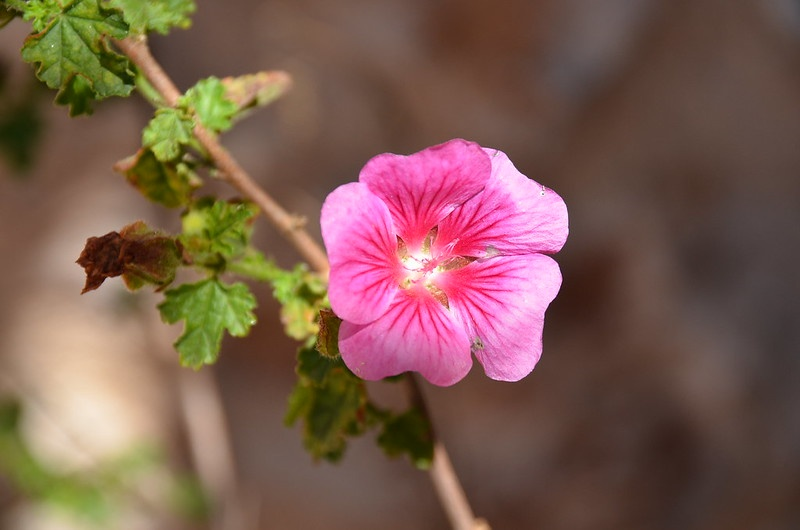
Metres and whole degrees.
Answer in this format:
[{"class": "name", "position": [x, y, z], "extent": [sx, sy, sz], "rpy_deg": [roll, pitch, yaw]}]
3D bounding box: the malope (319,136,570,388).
[{"class": "malope", "position": [0.147, -0.026, 2.669], "extent": [0.842, 0.817, 0.298], "rpy_deg": [3, 10, -7]}]
